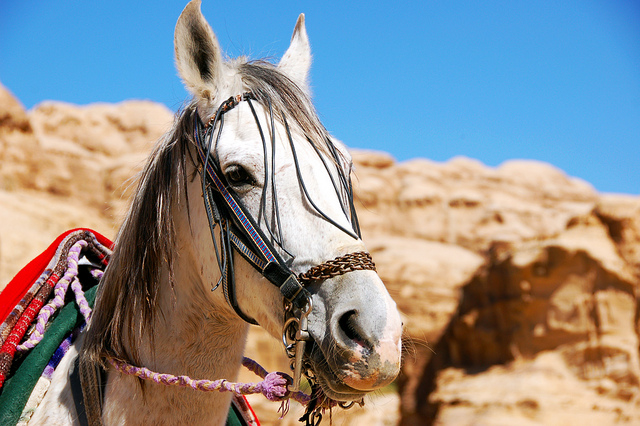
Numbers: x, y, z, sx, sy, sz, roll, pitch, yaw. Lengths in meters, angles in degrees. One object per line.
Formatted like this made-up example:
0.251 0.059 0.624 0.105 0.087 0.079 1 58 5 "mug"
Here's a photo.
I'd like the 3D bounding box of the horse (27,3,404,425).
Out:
-1.639 0.945 19.942 2.181 5.007 7.725 13 -51 -22 "horse"
